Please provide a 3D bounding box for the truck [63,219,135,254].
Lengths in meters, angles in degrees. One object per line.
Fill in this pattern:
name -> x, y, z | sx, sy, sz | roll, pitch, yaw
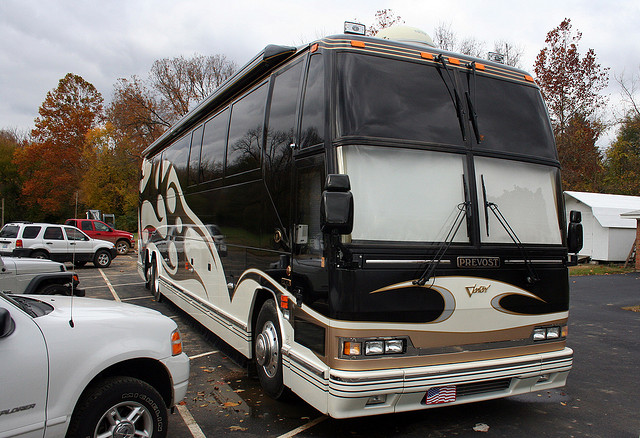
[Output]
truck -> -13.869, 1.034, 27.309 | 4.421, 2.103, 1.950 | 2, 6, -17

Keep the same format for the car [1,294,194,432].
car -> -2.326, 1.552, 5.104 | 2.219, 1.315, 1.135 | 0, -1, -35

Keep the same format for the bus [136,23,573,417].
bus -> 0.277, -0.164, 6.244 | 5.659, 4.826, 2.762 | 1, 1, 35
